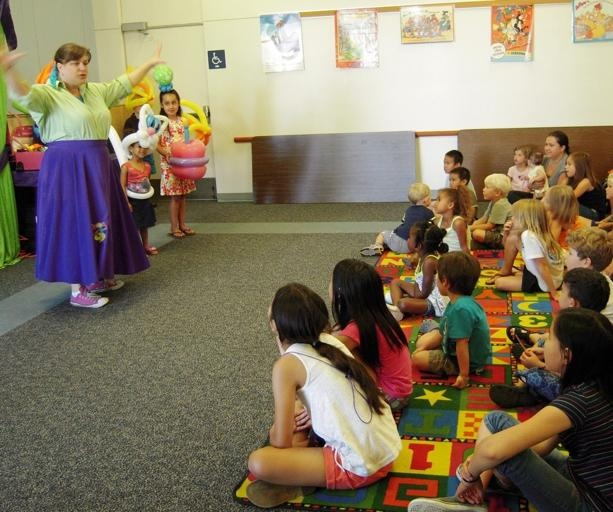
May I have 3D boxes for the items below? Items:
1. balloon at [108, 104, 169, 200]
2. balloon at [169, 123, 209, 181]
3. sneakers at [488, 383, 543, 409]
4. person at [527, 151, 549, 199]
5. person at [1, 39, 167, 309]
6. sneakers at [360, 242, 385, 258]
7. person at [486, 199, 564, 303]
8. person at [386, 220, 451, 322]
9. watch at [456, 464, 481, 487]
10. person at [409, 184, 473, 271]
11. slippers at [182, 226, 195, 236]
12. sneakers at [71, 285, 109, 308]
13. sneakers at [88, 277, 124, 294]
[{"bbox_3d":[-1.444,-0.901,4.035,0.504,0.771,0.353,6,22,-4],"label":"balloon"},{"bbox_3d":[-1.157,-1.023,4.647,0.397,0.540,0.405,18,25,41],"label":"balloon"},{"bbox_3d":[0.870,0.579,1.975,0.167,0.068,0.092,-2,18,3],"label":"sneakers"},{"bbox_3d":[2.221,-0.772,4.497,0.192,0.376,0.894,5,17,24],"label":"person"},{"bbox_3d":[-1.535,-0.572,3.133,0.430,1.528,0.920,7,19,29],"label":"person"},{"bbox_3d":[0.568,-0.050,4.021,0.164,0.070,0.099,0,8,21],"label":"sneakers"},{"bbox_3d":[1.426,-0.088,3.195,0.558,0.768,0.570,8,15,39],"label":"person"},{"bbox_3d":[0.697,0.012,3.038,0.529,0.714,0.496,4,26,16],"label":"person"},{"bbox_3d":[0.488,0.647,1.429,0.070,0.050,0.050,17,26,24],"label":"watch"},{"bbox_3d":[1.022,-0.241,3.663,0.677,0.743,0.584,0,11,5],"label":"person"},{"bbox_3d":[-1.243,-0.256,4.977,0.161,0.048,0.063,7,13,41],"label":"slippers"},{"bbox_3d":[-1.508,0.292,3.339,0.303,0.150,0.114,2,8,-1],"label":"sneakers"},{"bbox_3d":[-1.492,0.218,3.535,0.088,0.097,0.248,10,16,42],"label":"sneakers"}]
